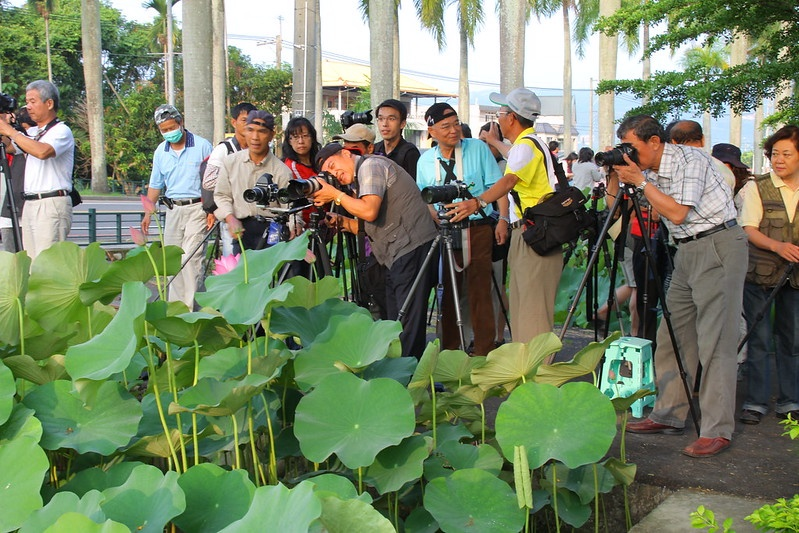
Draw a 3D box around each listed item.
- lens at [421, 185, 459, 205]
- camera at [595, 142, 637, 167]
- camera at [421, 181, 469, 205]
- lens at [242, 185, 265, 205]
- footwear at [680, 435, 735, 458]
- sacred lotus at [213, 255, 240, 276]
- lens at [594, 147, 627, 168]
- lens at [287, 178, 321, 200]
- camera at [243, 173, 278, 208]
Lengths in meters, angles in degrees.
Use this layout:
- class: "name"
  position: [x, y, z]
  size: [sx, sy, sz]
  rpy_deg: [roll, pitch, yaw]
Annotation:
- class: "lens"
  position: [0.309, -0.553, 5.463]
  size: [0.120, 0.127, 0.318]
  rpy_deg: [-1, 1, 36]
- class: "camera"
  position: [1.490, -0.745, 4.837]
  size: [0.190, 0.112, 0.176]
  rpy_deg: [-3, -6, -10]
- class: "camera"
  position: [0.335, -0.557, 5.466]
  size: [0.177, 0.115, 0.295]
  rpy_deg: [-7, 0, 40]
- class: "lens"
  position: [-1.081, -0.532, 5.317]
  size: [0.093, 0.113, 0.185]
  rpy_deg: [4, 0, 24]
- class: "footwear"
  position: [2.044, 1.183, 4.704]
  size: [0.331, 0.133, 0.123]
  rpy_deg: [1, -4, -28]
- class: "sacred lotus"
  position: [-0.860, -0.010, 3.507]
  size: [0.110, 0.065, 0.131]
  rpy_deg: [-13, -3, 0]
- class: "lens"
  position: [1.448, -0.737, 4.844]
  size: [0.157, 0.077, 0.143]
  rpy_deg: [-2, -1, -23]
- class: "lens"
  position: [-0.691, -0.550, 5.075]
  size: [0.126, 0.102, 0.219]
  rpy_deg: [22, 6, 28]
- class: "camera"
  position: [-1.086, -0.553, 5.377]
  size: [0.273, 0.277, 0.258]
  rpy_deg: [-3, -4, 39]
